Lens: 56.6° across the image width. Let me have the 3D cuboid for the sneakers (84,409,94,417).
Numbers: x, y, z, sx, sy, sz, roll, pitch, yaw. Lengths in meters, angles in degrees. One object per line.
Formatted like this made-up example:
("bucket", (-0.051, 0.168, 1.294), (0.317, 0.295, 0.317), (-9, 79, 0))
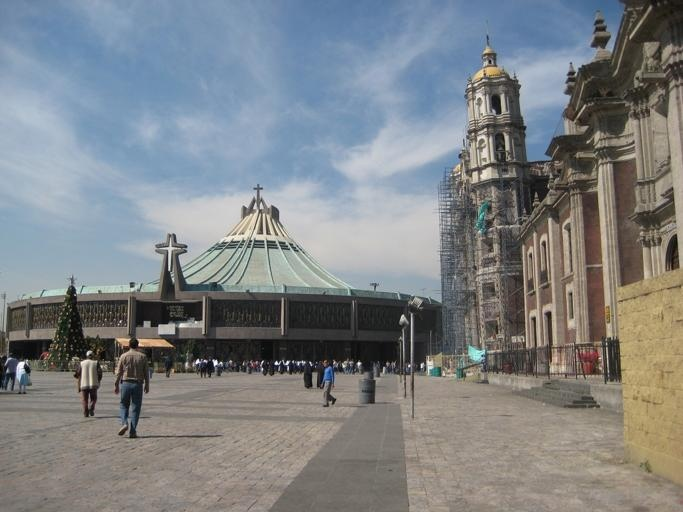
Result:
("sneakers", (-7.059, 4.378, 17.695), (0.138, 0.174, 0.426), (3, -22, -21))

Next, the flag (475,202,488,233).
("flag", (14.397, -4.148, 64.676), (1.422, 3.196, 2.043), (-4, -13, 13))

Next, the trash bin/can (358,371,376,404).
("trash bin/can", (0.935, 4.946, 23.319), (0.545, 0.943, 0.773), (0, -13, -4))

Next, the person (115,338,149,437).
("person", (-4.712, 2.898, 14.196), (0.690, 2.244, 1.425), (3, -13, -19))

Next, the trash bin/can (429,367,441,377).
("trash bin/can", (8.785, 10.757, 58.904), (0.895, 0.697, 0.951), (0, -15, 3))
